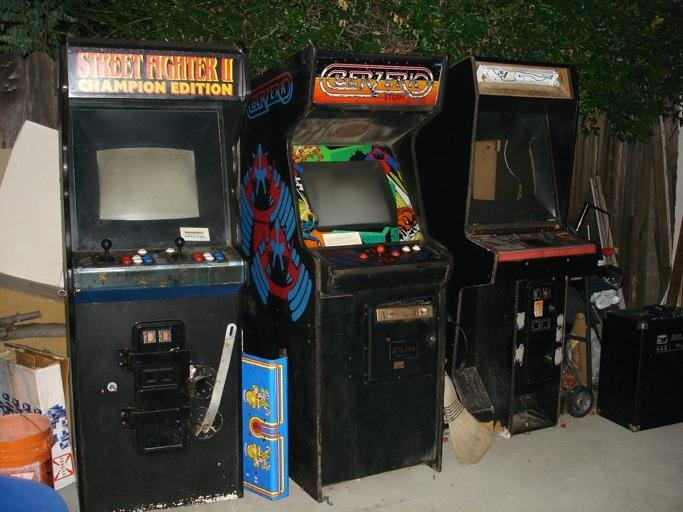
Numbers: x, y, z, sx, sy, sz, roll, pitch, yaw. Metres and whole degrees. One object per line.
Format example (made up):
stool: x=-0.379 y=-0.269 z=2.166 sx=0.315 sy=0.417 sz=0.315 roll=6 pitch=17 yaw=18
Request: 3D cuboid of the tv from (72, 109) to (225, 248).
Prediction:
tv: x=-1.149 y=-0.420 z=3.862 sx=0.855 sy=0.798 sz=0.344 roll=-2 pitch=-8 yaw=-21

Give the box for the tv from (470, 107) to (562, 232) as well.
tv: x=1.310 y=-0.562 z=4.901 sx=0.642 sy=0.913 sz=0.511 roll=-4 pitch=-18 yaw=25
